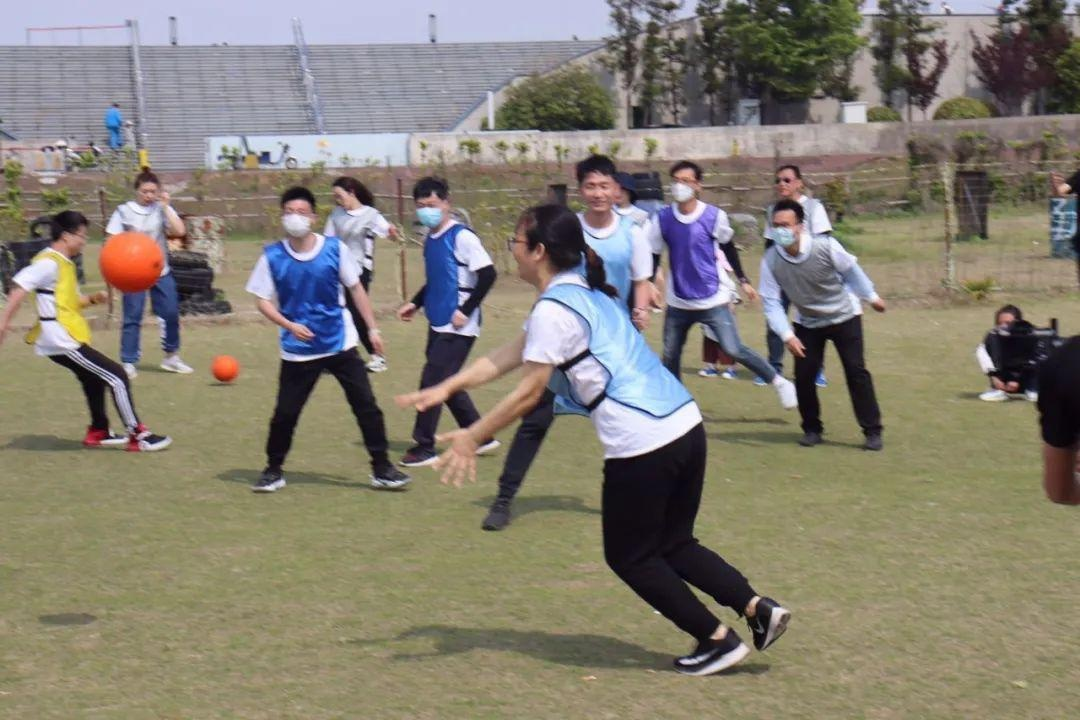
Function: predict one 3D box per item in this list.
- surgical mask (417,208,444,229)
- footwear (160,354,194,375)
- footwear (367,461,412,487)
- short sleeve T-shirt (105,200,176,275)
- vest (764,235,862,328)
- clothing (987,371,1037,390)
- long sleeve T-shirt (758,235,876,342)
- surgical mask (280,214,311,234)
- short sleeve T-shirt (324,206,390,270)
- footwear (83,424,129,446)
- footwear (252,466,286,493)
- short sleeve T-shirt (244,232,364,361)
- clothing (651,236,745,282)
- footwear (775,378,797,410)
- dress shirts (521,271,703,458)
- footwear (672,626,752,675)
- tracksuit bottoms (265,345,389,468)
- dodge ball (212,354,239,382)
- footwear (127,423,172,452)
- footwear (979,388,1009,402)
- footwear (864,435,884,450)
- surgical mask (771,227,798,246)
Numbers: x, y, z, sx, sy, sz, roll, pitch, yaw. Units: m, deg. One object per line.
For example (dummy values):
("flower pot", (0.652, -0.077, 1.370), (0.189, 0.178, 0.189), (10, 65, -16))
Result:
("surgical mask", (-0.927, -1.208, 11.050), (0.206, 0.109, 0.198), (1, 8, 6))
("footwear", (-4.081, 0.052, 14.555), (0.448, 0.157, 0.178), (3, 6, 6))
("footwear", (-1.223, 0.944, 10.613), (0.379, 0.171, 0.154), (0, 6, 5))
("short sleeve T-shirt", (-4.231, -1.353, 14.124), (0.978, 0.794, 0.512), (-8, 1, 18))
("vest", (2.476, -0.634, 11.444), (0.905, 0.723, 0.489), (-14, 11, 42))
("clothing", (4.640, 0.211, 12.811), (0.495, 0.179, 0.315), (3, -2, -11))
("long sleeve T-shirt", (2.449, -0.720, 11.378), (1.118, 0.797, 0.587), (-15, 11, 35))
("surgical mask", (-1.941, -1.074, 10.316), (0.214, 0.124, 0.181), (2, 0, -3))
("short sleeve T-shirt", (-1.979, -1.386, 14.178), (0.903, 0.592, 0.319), (10, 18, 26))
("footwear", (-3.926, 0.680, 11.765), (0.428, 0.140, 0.171), (-1, 6, -12))
("footwear", (-2.203, 0.985, 10.558), (0.153, 0.120, 0.308), (1, -7, 11))
("short sleeve T-shirt", (-1.773, -0.506, 10.513), (1.263, 0.918, 0.566), (-5, 13, 21))
("clothing", (1.459, -0.948, 12.205), (0.634, 0.560, 0.345), (-17, 7, 11))
("footwear", (2.297, 0.325, 12.052), (0.193, 0.118, 0.367), (6, 33, -12))
("dress shirts", (0.280, -0.004, 8.174), (1.029, 1.050, 0.963), (-17, 14, -8))
("footwear", (1.000, 1.786, 8.013), (0.547, 0.244, 0.172), (-10, 18, -17))
("tracksuit bottoms", (-1.866, 0.444, 11.308), (1.431, 1.042, 0.529), (1, -1, -11))
("dodge ball", (-3.377, 0.092, 13.972), (0.363, 0.272, 0.317), (2, 10, -5))
("footwear", (-3.491, 0.699, 11.568), (0.407, 0.173, 0.222), (0, 6, 4))
("footwear", (4.476, 0.339, 12.767), (0.277, 0.103, 0.190), (-1, 7, 15))
("footwear", (2.918, 0.713, 11.365), (0.140, 0.036, 0.158), (0, 15, 6))
("surgical mask", (2.082, -1.060, 11.064), (0.171, 0.104, 0.182), (0, 5, 25))
